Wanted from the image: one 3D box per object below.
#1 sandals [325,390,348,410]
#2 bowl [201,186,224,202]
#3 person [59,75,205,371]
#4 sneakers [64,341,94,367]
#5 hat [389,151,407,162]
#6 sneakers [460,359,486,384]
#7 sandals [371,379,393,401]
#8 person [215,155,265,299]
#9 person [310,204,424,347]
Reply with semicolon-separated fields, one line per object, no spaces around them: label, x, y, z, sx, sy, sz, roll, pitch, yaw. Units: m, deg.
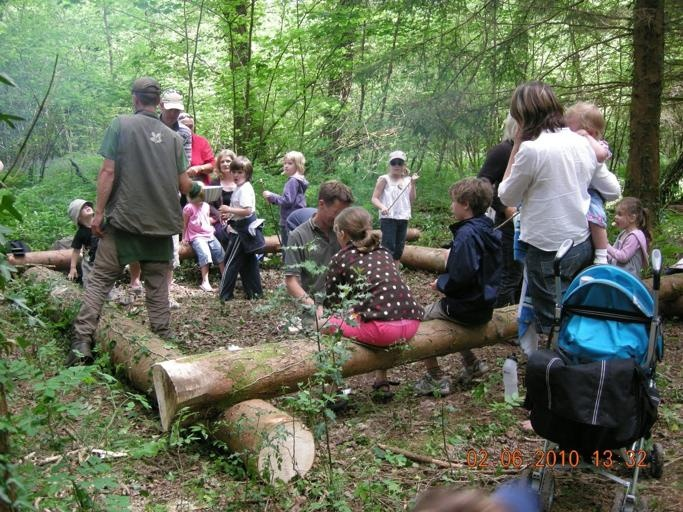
sandals;-0.044;1.246;5.572;0.157;0.205;0.459;-1;-11;-2
bowl;-1.708;-0.791;8.530;0.279;0.138;0.405;1;-10;-21
person;-2.066;-0.426;6.655;1.260;2.810;0.810;-1;16;-36
sneakers;-2.487;0.917;6.083;0.236;0.193;0.369;-1;8;-21
hat;0.815;-1.455;9.340;0.236;0.156;0.396;2;7;3
sneakers;1.271;1.145;6.341;0.321;0.146;0.149;-34;3;-13
sandals;0.391;1.273;6.127;0.207;0.162;0.515;2;7;4
person;-1.317;-0.359;8.441;0.587;1.875;0.850;1;7;-9
person;0.200;0.159;5.921;1.160;1.315;1.073;-11;13;-30
